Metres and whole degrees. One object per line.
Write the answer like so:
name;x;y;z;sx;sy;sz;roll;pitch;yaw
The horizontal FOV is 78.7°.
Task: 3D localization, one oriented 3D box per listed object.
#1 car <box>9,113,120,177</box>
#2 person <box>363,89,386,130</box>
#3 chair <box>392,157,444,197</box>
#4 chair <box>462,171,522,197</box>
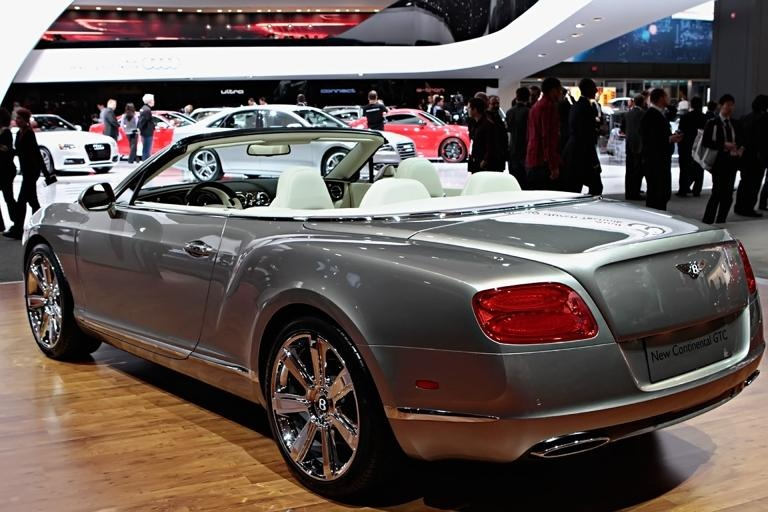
car;-11.187;-3.496;16.119;6.001;1.946;2.571;9;13;35
person;-0.386;-4.889;16.388;0.726;0.554;2.040;-7;-31;-5
chair;0.278;-0.577;3.452;0.358;0.330;0.246;2;7;-13
chair;0.715;-0.483;3.137;0.312;0.146;0.200;-5;6;-5
